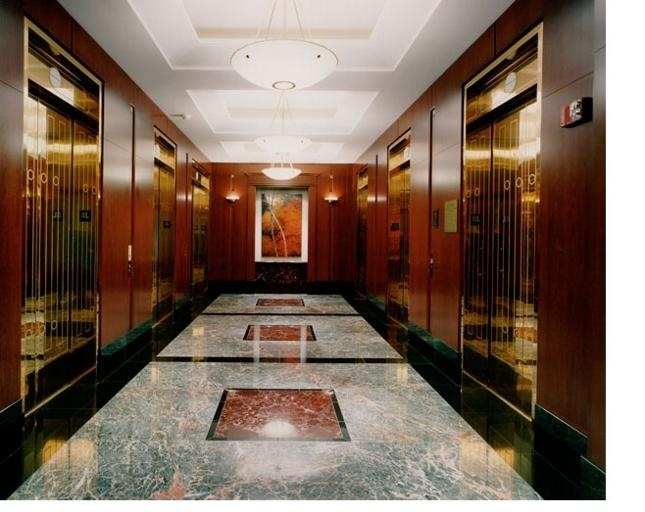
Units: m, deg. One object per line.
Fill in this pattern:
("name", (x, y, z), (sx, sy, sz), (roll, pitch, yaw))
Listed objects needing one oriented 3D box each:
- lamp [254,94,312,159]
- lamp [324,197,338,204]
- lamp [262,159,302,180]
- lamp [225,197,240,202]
("lamp", (-0.813, -2.786, 9.597), (1.123, 1.869, 1.214), (0, -3, -1))
("lamp", (0.290, -1.789, 14.896), (0.402, 0.209, 0.152), (-4, 3, -4))
("lamp", (-1.179, -2.310, 12.674), (0.904, 0.574, 0.945), (-2, 7, -26))
("lamp", (-2.855, -1.794, 14.735), (0.416, 0.169, 0.244), (-4, 4, -13))
